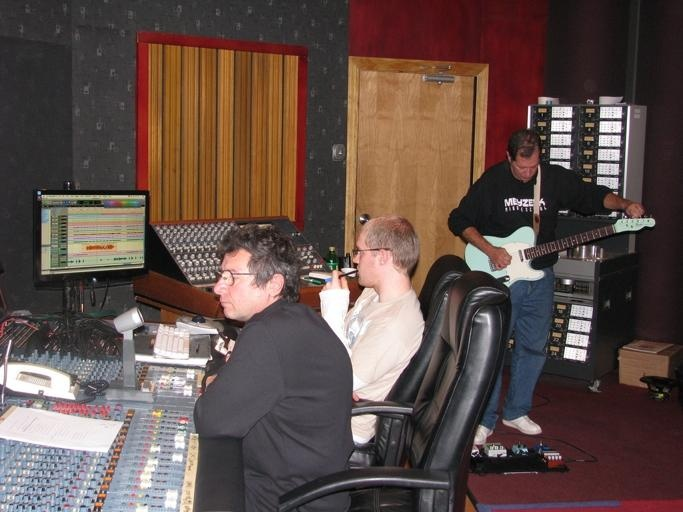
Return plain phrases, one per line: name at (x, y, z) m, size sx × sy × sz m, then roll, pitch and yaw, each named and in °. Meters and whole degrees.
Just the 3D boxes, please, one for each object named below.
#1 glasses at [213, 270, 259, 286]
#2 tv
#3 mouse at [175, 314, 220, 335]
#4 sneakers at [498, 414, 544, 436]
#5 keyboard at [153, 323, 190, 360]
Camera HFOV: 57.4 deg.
glasses at (-0.377, 0.081, 2.266) m, size 0.112 × 0.037 × 0.106 m, roll 4°, pitch -4°, yaw -42°
tv at (-1.306, -0.108, 3.221) m, size 0.043 × 0.374 × 0.494 m, roll 0°, pitch 1°, yaw 42°
mouse at (-0.692, 0.333, 3.009) m, size 0.141 × 0.049 × 0.106 m, roll 7°, pitch 2°, yaw 1°
sneakers at (1.251, 1.140, 4.258) m, size 0.239 × 0.100 × 0.105 m, roll 2°, pitch 9°, yaw 38°
keyboard at (-0.738, 0.386, 2.725) m, size 0.096 × 0.015 × 0.208 m, roll 12°, pitch 18°, yaw -10°
